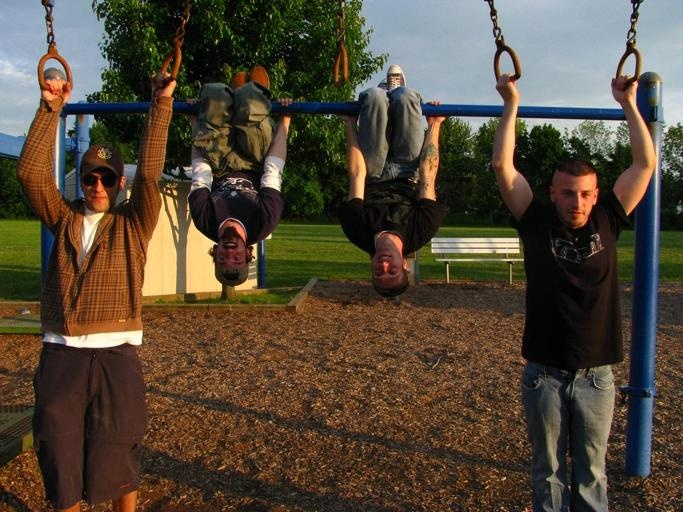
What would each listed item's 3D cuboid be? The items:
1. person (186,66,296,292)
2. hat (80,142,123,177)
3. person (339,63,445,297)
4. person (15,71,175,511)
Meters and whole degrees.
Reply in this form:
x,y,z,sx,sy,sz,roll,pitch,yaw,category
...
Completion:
x,y,z,sx,sy,sz,roll,pitch,yaw,category
-0.776,-0.645,5.158,0.694,1.644,0.544,-2,-4,7,person
-1.461,-0.587,4.229,0.261,0.199,0.359,4,1,-30,hat
0.374,-0.538,4.998,0.746,1.779,0.686,0,1,10,person
-1.398,0.222,4.047,0.775,2.562,0.599,-2,9,-16,person
